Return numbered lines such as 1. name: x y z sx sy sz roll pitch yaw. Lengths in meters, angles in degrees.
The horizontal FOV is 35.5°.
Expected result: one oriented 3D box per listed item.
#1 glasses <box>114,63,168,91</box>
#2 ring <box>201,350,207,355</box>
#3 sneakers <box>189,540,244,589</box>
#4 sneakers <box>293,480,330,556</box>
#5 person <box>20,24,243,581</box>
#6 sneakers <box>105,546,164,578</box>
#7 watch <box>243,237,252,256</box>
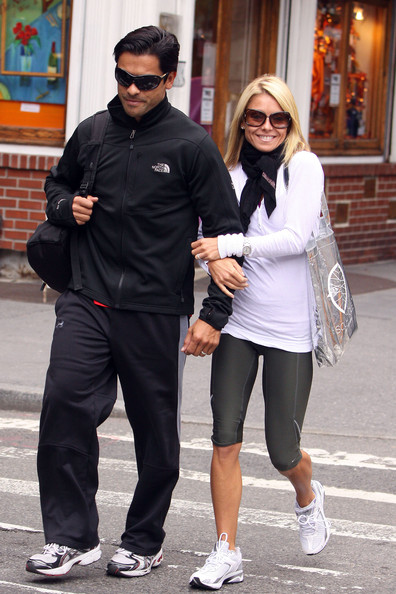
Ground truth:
1. glasses: -0.173 -0.661 1.873 0.159 0.093 0.083 3 -2 -8
2. ring: 0.020 0.179 1.976 0.014 0.012 0.012 -2 7 -39
3. sneakers: 0.066 0.862 2.026 0.092 0.131 0.240 1 -1 36
4. sneakers: 0.419 0.846 2.397 0.120 0.294 0.131 -17 -23 27
5. person: -0.243 0.049 2.020 0.734 1.756 0.442 3 -2 2
6. sneakers: -0.213 0.869 2.051 0.084 0.091 0.208 0 -5 36
7. watch: 0.157 -0.157 1.999 0.037 0.055 0.053 -5 20 -3
